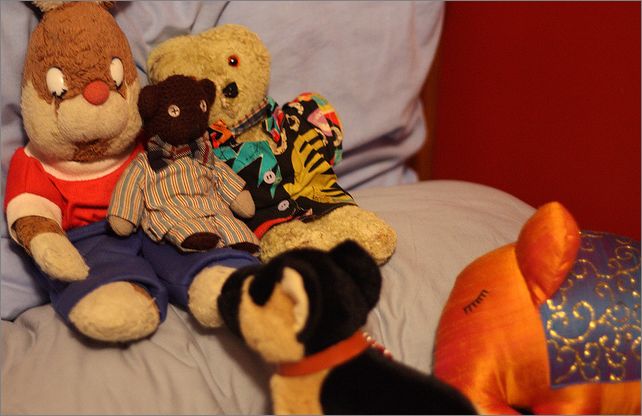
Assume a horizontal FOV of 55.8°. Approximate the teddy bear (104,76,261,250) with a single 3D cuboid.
[{"bbox_3d":[-0.262,-0.080,1.362,0.379,0.387,0.327,-6,18,-36],"label":"teddy bear"}]
